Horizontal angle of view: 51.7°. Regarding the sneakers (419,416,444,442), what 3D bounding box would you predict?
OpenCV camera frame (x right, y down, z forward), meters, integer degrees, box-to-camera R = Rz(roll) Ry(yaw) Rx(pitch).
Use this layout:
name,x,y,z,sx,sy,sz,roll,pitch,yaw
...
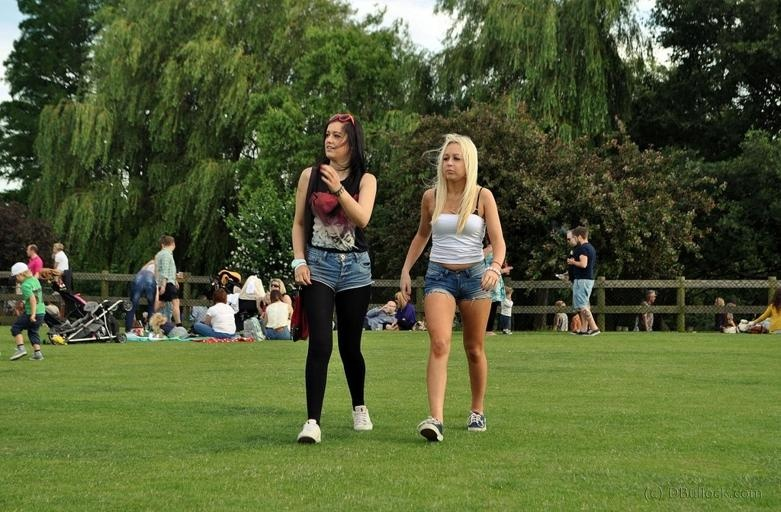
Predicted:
name,x,y,z,sx,sy,sz,roll,pitch,yaw
sneakers,0.412,1.772,8.219,0.266,0.247,0.248,-1,-3,-1

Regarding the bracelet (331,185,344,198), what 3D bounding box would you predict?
name,x,y,z,sx,sy,sz,roll,pitch,yaw
bracelet,-0.551,-0.672,8.317,0.103,0.111,0.075,5,-25,45

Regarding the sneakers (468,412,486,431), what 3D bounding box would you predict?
name,x,y,z,sx,sy,sz,roll,pitch,yaw
sneakers,0.918,1.769,8.593,0.204,0.195,0.230,-1,-4,6

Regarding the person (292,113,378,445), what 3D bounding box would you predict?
name,x,y,z,sx,sy,sz,roll,pitch,yaw
person,-0.596,0.174,8.489,0.872,3.464,0.603,0,-3,-8

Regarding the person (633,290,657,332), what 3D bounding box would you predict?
name,x,y,z,sx,sy,sz,roll,pitch,yaw
person,8.843,1.834,27.961,0.479,0.894,1.566,2,-32,12

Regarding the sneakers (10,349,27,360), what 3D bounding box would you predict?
name,x,y,z,sx,sy,sz,roll,pitch,yaw
sneakers,-6.673,1.740,14.335,0.264,0.227,0.660,1,-4,-26

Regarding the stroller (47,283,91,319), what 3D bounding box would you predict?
name,x,y,z,sx,sy,sz,roll,pitch,yaw
stroller,-7.619,1.045,18.750,1.066,1.090,0.851,1,3,-3

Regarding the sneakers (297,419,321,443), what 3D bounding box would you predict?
name,x,y,z,sx,sy,sz,roll,pitch,yaw
sneakers,-0.816,1.780,8.159,0.297,0.229,0.199,1,-4,-28

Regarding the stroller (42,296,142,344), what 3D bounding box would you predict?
name,x,y,z,sx,sy,sz,roll,pitch,yaw
stroller,-6.982,1.484,18.637,1.834,1.147,0.932,2,-5,-38

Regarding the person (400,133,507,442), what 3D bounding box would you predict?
name,x,y,z,sx,sy,sz,roll,pitch,yaw
person,0.701,0.270,8.647,1.034,3.288,0.941,-1,-3,1

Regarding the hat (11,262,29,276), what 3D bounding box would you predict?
name,x,y,z,sx,sy,sz,roll,pitch,yaw
hat,-7.567,0.260,16.297,0.478,0.272,0.355,-6,6,-24
